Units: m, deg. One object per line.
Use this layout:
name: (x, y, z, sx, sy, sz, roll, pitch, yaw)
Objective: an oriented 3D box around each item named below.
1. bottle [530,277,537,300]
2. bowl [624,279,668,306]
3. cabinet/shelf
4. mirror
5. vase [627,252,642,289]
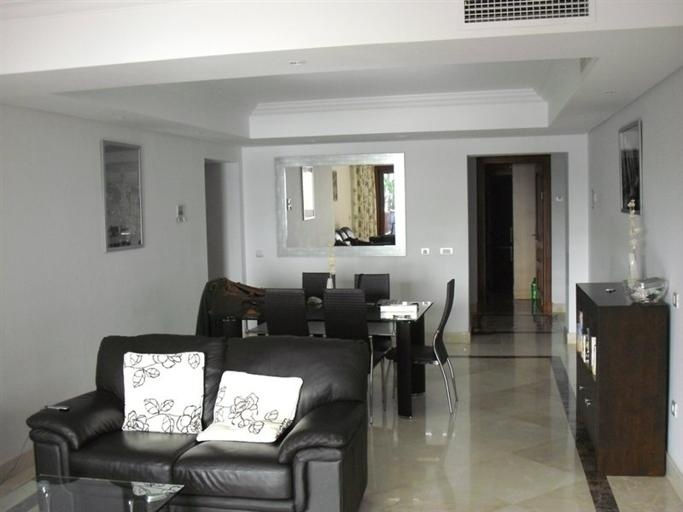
bottle: (3.859, 0.660, 10.917, 0.074, 0.412, 0.608, 2, 9, 23)
bowl: (2.446, 0.279, 4.347, 0.231, 0.151, 0.183, -4, 4, -22)
cabinet/shelf: (2.261, 1.001, 4.334, 0.531, 1.372, 1.457, 0, -1, 16)
mirror: (0.056, -0.816, 8.314, 1.475, 1.208, 0.061, 0, 6, 10)
vase: (2.613, 0.087, 4.885, 0.104, 0.380, 0.088, -6, -41, 35)
